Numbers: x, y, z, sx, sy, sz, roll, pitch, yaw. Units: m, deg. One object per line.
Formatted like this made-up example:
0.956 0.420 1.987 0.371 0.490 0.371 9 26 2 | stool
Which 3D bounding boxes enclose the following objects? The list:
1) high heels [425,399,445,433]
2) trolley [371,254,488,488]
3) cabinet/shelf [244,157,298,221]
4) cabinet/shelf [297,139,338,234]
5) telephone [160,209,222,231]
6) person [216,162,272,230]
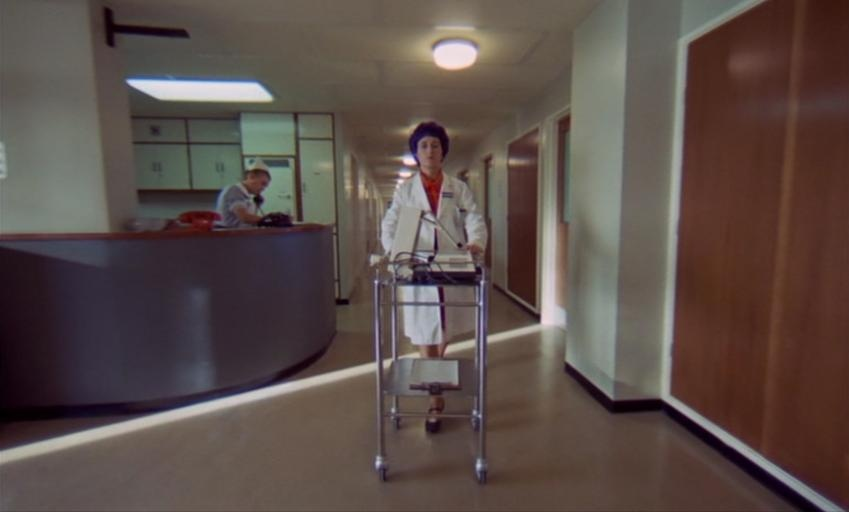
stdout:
0.060 1.404 5.451 0.108 0.168 0.373 4 11 6 | high heels
0.014 0.856 5.171 0.904 1.762 0.821 -1 5 -3 | trolley
-2.067 -0.931 8.495 0.758 1.059 0.773 1 10 8 | cabinet/shelf
-1.428 -0.989 8.371 0.482 1.200 0.125 -1 21 -5 | cabinet/shelf
-2.316 -0.348 6.215 0.397 0.126 0.297 1 7 30 | telephone
-1.964 -0.681 6.791 0.548 0.731 1.162 -3 6 -17 | person
